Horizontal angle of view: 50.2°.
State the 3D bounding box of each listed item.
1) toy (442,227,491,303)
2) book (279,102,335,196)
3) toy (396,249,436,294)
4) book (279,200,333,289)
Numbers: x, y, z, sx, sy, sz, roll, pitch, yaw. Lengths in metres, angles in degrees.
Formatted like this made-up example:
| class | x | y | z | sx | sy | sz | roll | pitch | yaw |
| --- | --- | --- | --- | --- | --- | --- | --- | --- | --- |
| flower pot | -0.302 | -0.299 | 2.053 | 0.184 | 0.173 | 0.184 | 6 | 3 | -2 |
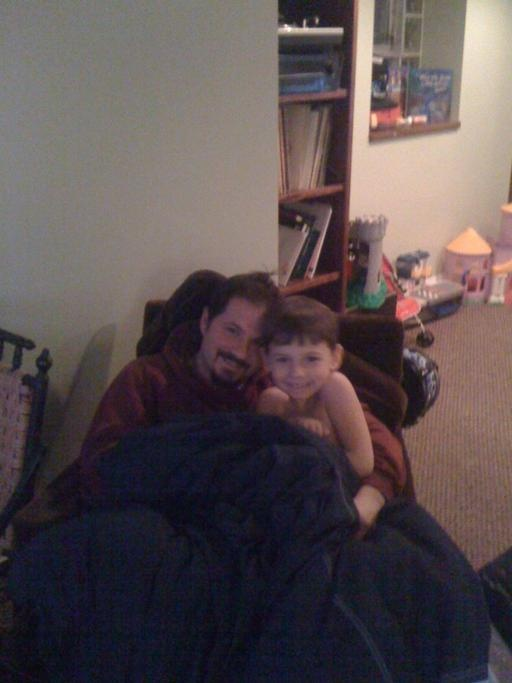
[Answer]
| class | x | y | z | sx | sy | sz | roll | pitch | yaw |
| --- | --- | --- | --- | --- | --- | --- | --- | --- | --- |
| toy | 0.938 | -0.419 | 2.508 | 0.192 | 0.444 | 0.239 | 6 | 28 | 17 |
| book | 0.137 | -0.543 | 1.523 | 0.178 | 0.239 | 0.049 | -18 | 26 | -41 |
| toy | 0.699 | -0.323 | 2.407 | 0.219 | 0.167 | 0.075 | -8 | 20 | -32 |
| book | 0.142 | -0.316 | 1.581 | 0.045 | 0.268 | 0.214 | 8 | -13 | -22 |
